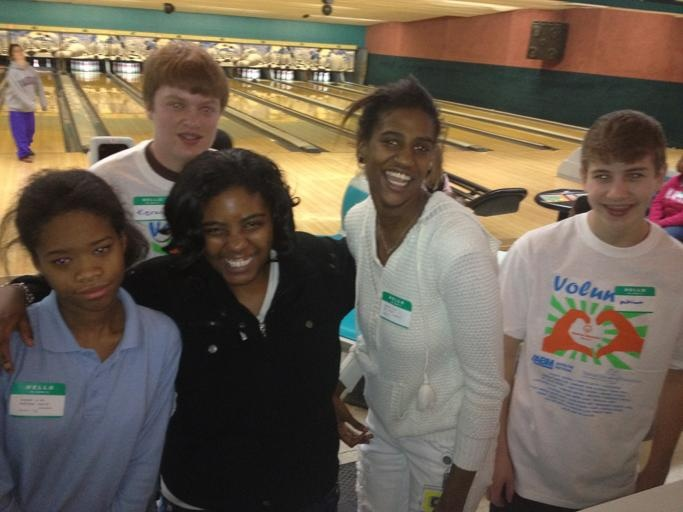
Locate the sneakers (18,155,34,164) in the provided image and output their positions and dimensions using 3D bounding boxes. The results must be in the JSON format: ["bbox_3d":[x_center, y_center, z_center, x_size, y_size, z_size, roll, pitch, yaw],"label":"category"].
[{"bbox_3d":[-3.098,-0.952,4.932,0.209,0.072,0.061,-2,22,18],"label":"sneakers"}]

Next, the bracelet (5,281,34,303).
[{"bbox_3d":[-0.640,0.070,1.003,0.047,0.017,0.055,3,12,-40],"label":"bracelet"}]
